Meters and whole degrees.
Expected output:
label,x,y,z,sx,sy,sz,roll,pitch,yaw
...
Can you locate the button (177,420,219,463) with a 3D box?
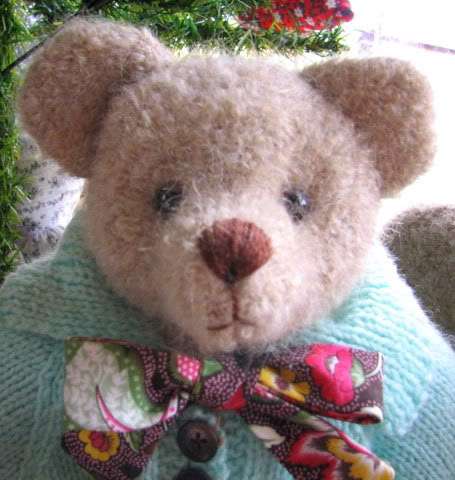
label,x,y,z,sx,sy,sz,roll,pitch,yaw
button,-0.033,0.225,0.662,0.045,0.018,0.043,0,67,2
